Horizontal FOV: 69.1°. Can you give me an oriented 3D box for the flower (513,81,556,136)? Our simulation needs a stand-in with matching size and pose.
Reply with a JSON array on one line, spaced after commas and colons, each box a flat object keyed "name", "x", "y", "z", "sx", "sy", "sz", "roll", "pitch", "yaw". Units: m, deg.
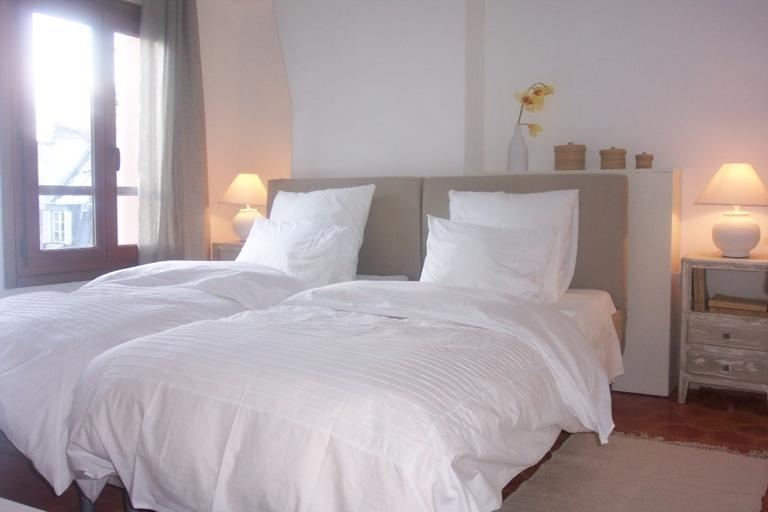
[{"name": "flower", "x": 1.054, "y": -1.029, "z": 3.917, "sx": 0.256, "sy": 0.380, "sz": 0.381, "roll": 2, "pitch": 14, "yaw": 14}]

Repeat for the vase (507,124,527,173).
[{"name": "vase", "x": 0.913, "y": -0.729, "z": 3.805, "sx": 0.128, "sy": 0.314, "sz": 0.202, "roll": 1, "pitch": 14, "yaw": 10}]

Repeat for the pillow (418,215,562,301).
[{"name": "pillow", "x": 0.587, "y": 0.006, "z": 3.219, "sx": 0.761, "sy": 0.384, "sz": 0.410, "roll": 2, "pitch": 14, "yaw": 15}]

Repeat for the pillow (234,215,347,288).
[{"name": "pillow", "x": -0.613, "y": -0.028, "z": 3.676, "sx": 0.759, "sy": 0.366, "sz": 0.453, "roll": 5, "pitch": 14, "yaw": 24}]

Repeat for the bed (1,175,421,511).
[{"name": "bed", "x": -0.794, "y": 0.367, "z": 3.409, "sx": 2.136, "sy": 1.385, "sz": 2.193, "roll": 2, "pitch": 1, "yaw": 31}]

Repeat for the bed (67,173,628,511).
[{"name": "bed", "x": -0.033, "y": 0.378, "z": 2.630, "sx": 1.767, "sy": 1.136, "sz": 1.685, "roll": 0, "pitch": 0, "yaw": 35}]
